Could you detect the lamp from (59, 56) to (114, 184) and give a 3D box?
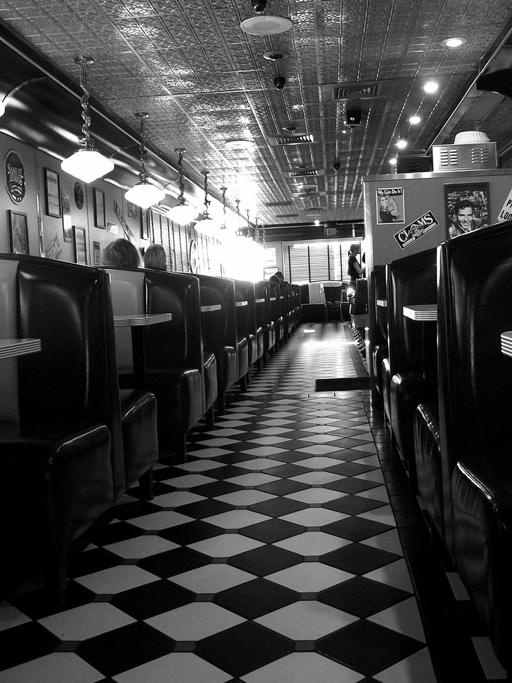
[{"bbox_3d":[-1.440,-1.873,4.265,0.377,0.924,0.411,11,17,27],"label":"lamp"}]
